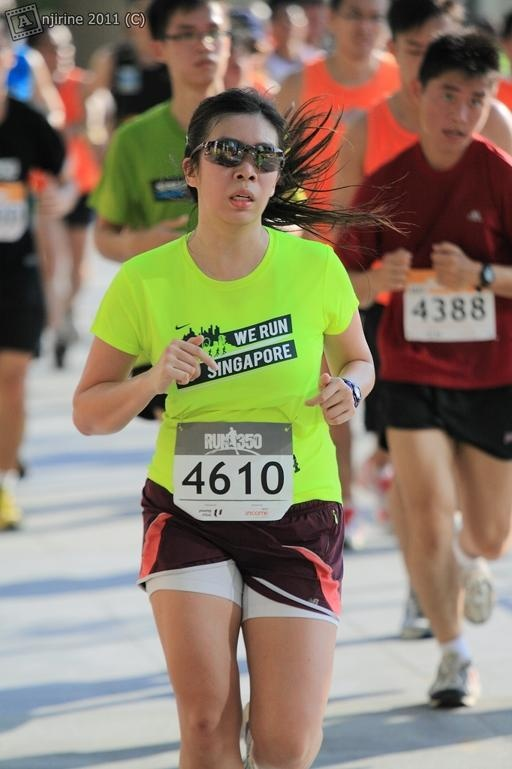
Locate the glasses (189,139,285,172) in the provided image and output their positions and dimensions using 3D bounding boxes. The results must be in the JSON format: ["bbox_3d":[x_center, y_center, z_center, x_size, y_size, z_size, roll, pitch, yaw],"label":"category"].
[{"bbox_3d":[-0.030,-0.445,1.567,0.159,0.061,0.057,3,11,-1],"label":"glasses"}]

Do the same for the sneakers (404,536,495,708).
[{"bbox_3d":[0.626,0.763,2.600,0.176,0.231,0.532,-5,30,15],"label":"sneakers"}]
